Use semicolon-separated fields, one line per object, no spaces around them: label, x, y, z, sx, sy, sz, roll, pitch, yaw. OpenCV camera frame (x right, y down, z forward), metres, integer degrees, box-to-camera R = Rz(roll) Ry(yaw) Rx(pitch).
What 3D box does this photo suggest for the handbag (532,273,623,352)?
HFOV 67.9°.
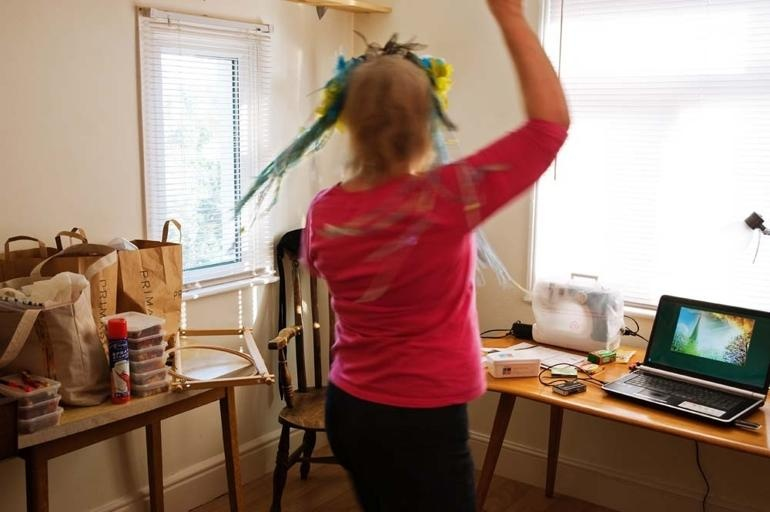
handbag;1.017;0.291;2.945;0.245;0.365;0.458;-3;6;-42
